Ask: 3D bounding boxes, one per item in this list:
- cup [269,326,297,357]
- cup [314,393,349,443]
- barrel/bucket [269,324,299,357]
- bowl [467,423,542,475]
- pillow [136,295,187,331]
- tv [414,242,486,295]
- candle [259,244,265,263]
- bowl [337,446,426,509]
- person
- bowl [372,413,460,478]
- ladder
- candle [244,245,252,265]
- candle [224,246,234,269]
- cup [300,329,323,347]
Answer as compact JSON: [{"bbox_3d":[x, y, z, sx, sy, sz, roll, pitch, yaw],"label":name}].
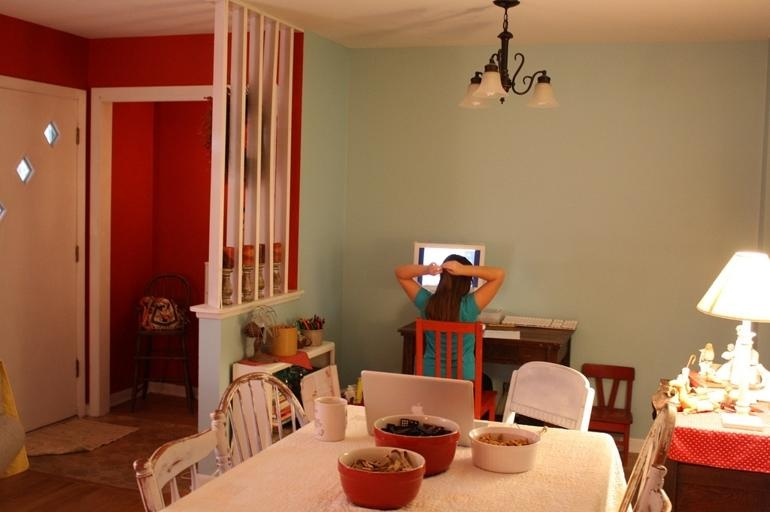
[{"bbox_3d":[-0.800,0.660,4.267,0.217,0.215,0.203,0,1,0],"label":"cup"},{"bbox_3d":[-0.232,0.742,2.501,0.152,0.171,0.239,-1,-4,19],"label":"cup"},{"bbox_3d":[-0.798,0.655,4.270,0.220,0.217,0.205,2,4,0],"label":"barrel/bucket"},{"bbox_3d":[0.485,0.791,2.256,0.241,0.130,0.225,2,9,0],"label":"bowl"},{"bbox_3d":[-2.169,0.572,5.309,0.298,0.135,0.399,1,15,-20],"label":"pillow"},{"bbox_3d":[0.511,0.106,4.334,0.405,0.300,0.055,2,-6,12],"label":"tv"},{"bbox_3d":[-0.974,-0.020,4.335,0.043,0.141,0.049,-1,10,-18],"label":"candle"},{"bbox_3d":[-0.014,0.803,2.000,0.229,0.105,0.229,1,-8,0],"label":"bowl"},{"bbox_3d":[0.455,0.784,4.196,0.740,1.587,0.472,5,25,21],"label":"person"},{"bbox_3d":[0.143,0.781,2.273,0.329,0.162,0.326,0,-1,0],"label":"bowl"},{"bbox_3d":[-2.183,0.841,5.391,0.568,1.273,0.524,2,3,-19],"label":"ladder"},{"bbox_3d":[-1.021,-0.005,4.086,0.039,0.146,0.106,6,10,22],"label":"candle"},{"bbox_3d":[-1.145,0.009,3.984,0.076,0.142,0.047,-2,11,-24],"label":"candle"},{"bbox_3d":[-0.619,0.676,4.546,0.143,0.089,0.146,0,-1,0],"label":"cup"}]
